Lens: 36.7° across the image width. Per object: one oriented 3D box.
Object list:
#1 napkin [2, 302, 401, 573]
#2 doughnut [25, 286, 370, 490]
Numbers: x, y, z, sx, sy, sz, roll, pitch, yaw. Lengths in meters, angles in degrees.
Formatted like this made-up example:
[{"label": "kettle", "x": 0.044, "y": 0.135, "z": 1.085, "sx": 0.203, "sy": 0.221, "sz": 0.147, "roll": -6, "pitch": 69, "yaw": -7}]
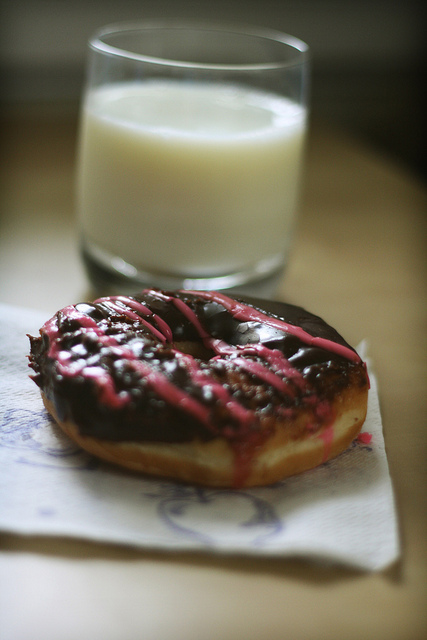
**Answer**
[{"label": "napkin", "x": -0.003, "y": 0.040, "z": 0.459, "sx": 0.269, "sy": 0.136, "sz": 0.267, "roll": -14, "pitch": 20, "yaw": -35}, {"label": "doughnut", "x": -0.023, "y": 0.038, "z": 0.512, "sx": 0.268, "sy": 0.082, "sz": 0.242, "roll": -7, "pitch": 24, "yaw": -34}]
